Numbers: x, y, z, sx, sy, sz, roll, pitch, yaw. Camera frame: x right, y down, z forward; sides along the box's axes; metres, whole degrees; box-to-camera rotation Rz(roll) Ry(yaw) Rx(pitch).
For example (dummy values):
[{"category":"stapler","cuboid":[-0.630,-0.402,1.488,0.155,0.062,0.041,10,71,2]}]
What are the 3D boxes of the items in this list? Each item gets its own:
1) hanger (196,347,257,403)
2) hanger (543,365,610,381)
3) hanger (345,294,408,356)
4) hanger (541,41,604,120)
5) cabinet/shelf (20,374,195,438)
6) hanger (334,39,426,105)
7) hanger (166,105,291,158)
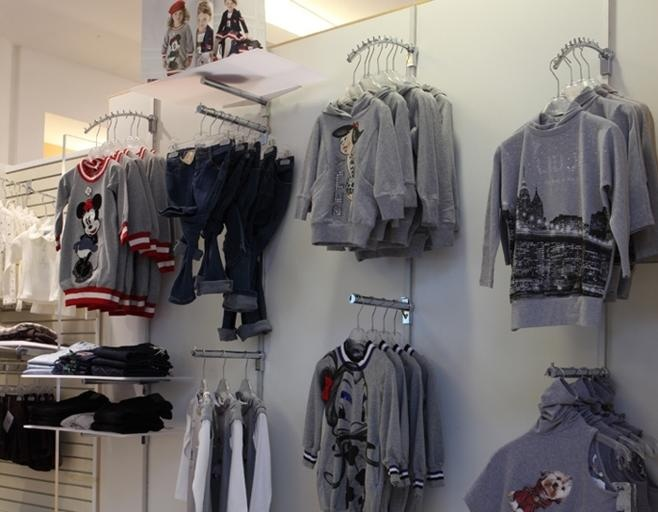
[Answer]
[{"category":"hanger","cuboid":[-0.667,0.792,4.842,0.352,0.267,0.049,3,-12,-13]},{"category":"hanger","cuboid":[1.249,0.604,3.770,0.252,0.072,0.451,-5,-10,40]},{"category":"hanger","cuboid":[0.302,0.423,4.404,0.311,0.233,0.031,9,-5,-34]},{"category":"hanger","cuboid":[1.319,-0.938,3.909,0.397,0.384,0.096,-27,22,-37]},{"category":"cabinet/shelf","cuboid":[-1.777,1.049,5.302,1.596,0.408,0.780,-4,-9,32]},{"category":"hanger","cuboid":[0.339,-1.135,4.498,0.506,0.515,0.075,1,2,37]},{"category":"hanger","cuboid":[-0.697,-0.876,5.080,0.478,0.299,0.694,4,7,38]}]
